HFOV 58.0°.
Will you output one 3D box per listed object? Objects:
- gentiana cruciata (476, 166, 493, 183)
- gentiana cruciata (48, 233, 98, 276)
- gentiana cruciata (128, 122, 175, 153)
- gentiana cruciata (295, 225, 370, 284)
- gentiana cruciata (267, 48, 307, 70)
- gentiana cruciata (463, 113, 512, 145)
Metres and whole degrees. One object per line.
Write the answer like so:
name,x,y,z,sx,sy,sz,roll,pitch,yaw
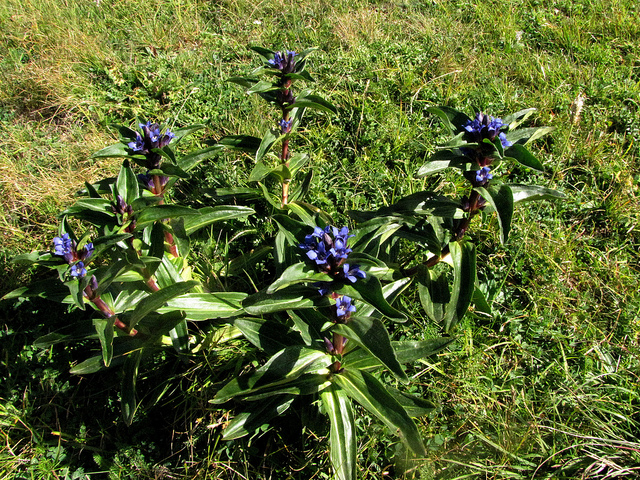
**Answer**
gentiana cruciata,1.293,-0.506,4.547,0.137,0.121,0.071,0,37,-1
gentiana cruciata,-1.834,0.110,4.290,0.284,0.171,0.322,21,46,-3
gentiana cruciata,-1.398,-0.819,4.779,0.301,0.174,0.258,-19,83,-18
gentiana cruciata,0.073,0.101,4.040,0.379,0.271,0.443,-40,73,-21
gentiana cruciata,-0.285,-1.618,5.135,0.226,0.121,0.226,9,41,19
gentiana cruciata,1.298,-0.819,4.554,0.296,0.172,0.294,-9,67,-7
